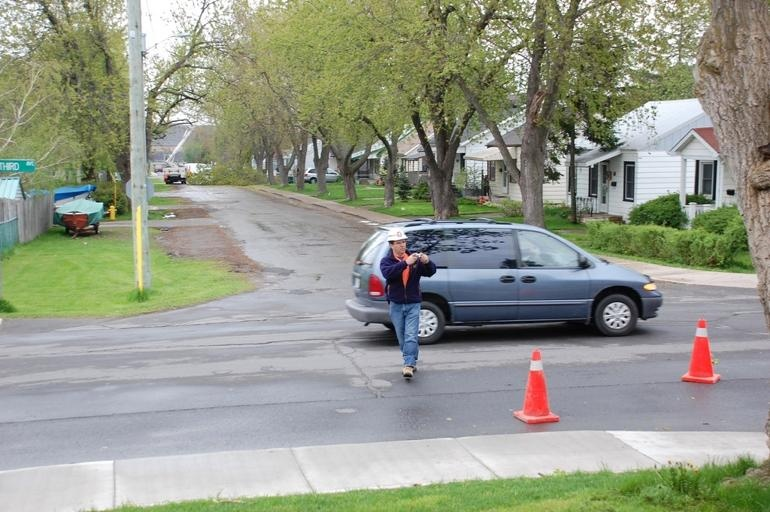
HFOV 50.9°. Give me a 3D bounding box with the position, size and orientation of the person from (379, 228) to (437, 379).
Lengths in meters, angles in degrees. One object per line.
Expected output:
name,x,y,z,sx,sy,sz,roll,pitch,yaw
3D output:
person,0.337,0.790,13.860,0.867,2.448,1.064,-1,11,0

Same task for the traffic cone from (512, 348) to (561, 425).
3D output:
traffic cone,2.266,1.882,12.181,0.679,1.068,0.776,0,11,4

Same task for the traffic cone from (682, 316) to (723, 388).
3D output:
traffic cone,5.480,1.485,13.901,0.601,1.057,1.284,4,11,22

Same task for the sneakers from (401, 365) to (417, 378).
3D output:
sneakers,0.386,1.946,13.721,0.245,0.108,0.351,2,7,1

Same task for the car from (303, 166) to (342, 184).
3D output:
car,-7.740,-9.392,94.109,4.113,1.663,7.389,-7,11,-34

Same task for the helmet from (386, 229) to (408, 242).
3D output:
helmet,0.119,-0.367,13.921,0.243,0.132,0.299,-2,-6,-29
